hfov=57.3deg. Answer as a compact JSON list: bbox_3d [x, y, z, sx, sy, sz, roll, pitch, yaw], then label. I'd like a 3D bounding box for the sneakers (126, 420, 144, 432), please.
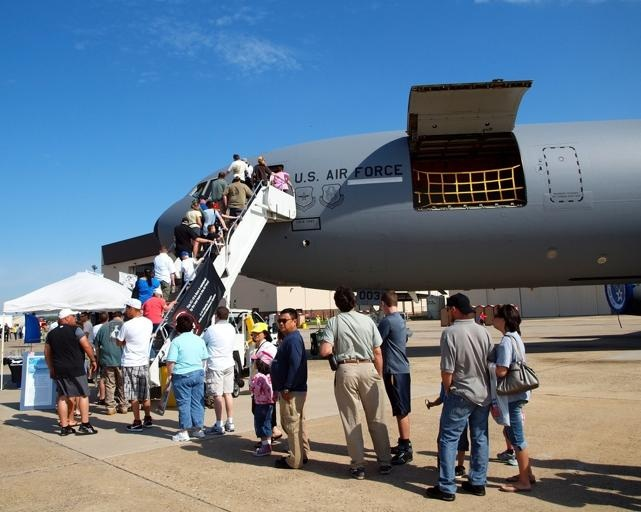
[{"bbox_3d":[-3.121,2.849,9.867,0.134,0.145,0.348,6,-5,-39],"label":"sneakers"}]

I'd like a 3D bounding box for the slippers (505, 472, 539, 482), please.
[{"bbox_3d":[2.527,2.772,7.284,0.357,0.084,0.146,2,-12,4],"label":"slippers"}]

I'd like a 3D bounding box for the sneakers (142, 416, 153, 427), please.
[{"bbox_3d":[-2.924,2.810,9.933,0.109,0.152,0.243,1,-1,-27],"label":"sneakers"}]

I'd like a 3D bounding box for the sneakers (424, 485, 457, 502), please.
[{"bbox_3d":[1.431,2.808,6.976,0.313,0.128,0.142,3,1,35],"label":"sneakers"}]

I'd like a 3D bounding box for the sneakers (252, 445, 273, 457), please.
[{"bbox_3d":[-0.800,2.773,8.346,0.296,0.187,0.103,3,-9,3],"label":"sneakers"}]

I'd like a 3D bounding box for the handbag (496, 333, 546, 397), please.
[{"bbox_3d":[2.396,1.329,7.156,0.566,0.688,0.313,-7,21,-19],"label":"handbag"}]

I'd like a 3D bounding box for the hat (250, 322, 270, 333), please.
[{"bbox_3d":[-0.954,1.122,9.248,0.204,0.136,0.268,-10,-18,10],"label":"hat"}]

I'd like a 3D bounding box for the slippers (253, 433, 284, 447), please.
[{"bbox_3d":[-0.723,2.773,8.818,0.163,0.196,0.500,-17,-18,40],"label":"slippers"}]

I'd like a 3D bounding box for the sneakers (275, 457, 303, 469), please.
[{"bbox_3d":[-0.426,2.819,7.936,0.362,0.132,0.141,5,-6,10],"label":"sneakers"}]

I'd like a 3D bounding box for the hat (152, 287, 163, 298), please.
[{"bbox_3d":[-3.478,0.776,12.394,0.192,0.249,0.256,3,6,-1],"label":"hat"}]

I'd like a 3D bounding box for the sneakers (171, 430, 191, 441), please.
[{"bbox_3d":[-2.205,2.794,9.123,0.350,0.150,0.128,0,-9,6],"label":"sneakers"}]

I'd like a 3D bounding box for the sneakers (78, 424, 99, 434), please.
[{"bbox_3d":[-3.842,2.856,9.700,0.283,0.119,0.149,2,-3,-16],"label":"sneakers"}]

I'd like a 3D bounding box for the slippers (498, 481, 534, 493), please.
[{"bbox_3d":[2.374,2.816,7.133,0.358,0.080,0.155,3,-11,6],"label":"slippers"}]

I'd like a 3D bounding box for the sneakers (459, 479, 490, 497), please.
[{"bbox_3d":[1.860,2.826,7.106,0.131,0.204,0.303,5,1,-39],"label":"sneakers"}]

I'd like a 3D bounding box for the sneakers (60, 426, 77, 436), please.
[{"bbox_3d":[-4.139,2.869,9.665,0.143,0.108,0.271,0,-3,4],"label":"sneakers"}]

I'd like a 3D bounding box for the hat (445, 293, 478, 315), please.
[{"bbox_3d":[1.799,0.602,7.403,0.351,0.191,0.239,4,4,13],"label":"hat"}]

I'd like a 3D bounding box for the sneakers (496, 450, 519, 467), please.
[{"bbox_3d":[2.525,2.727,7.909,0.125,0.136,0.309,-3,-1,-14],"label":"sneakers"}]

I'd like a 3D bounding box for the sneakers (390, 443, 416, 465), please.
[{"bbox_3d":[1.156,2.752,8.102,0.154,0.176,0.439,-11,-19,27],"label":"sneakers"}]

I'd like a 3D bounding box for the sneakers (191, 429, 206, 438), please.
[{"bbox_3d":[-1.893,2.789,9.190,0.102,0.093,0.227,3,-4,-25],"label":"sneakers"}]
